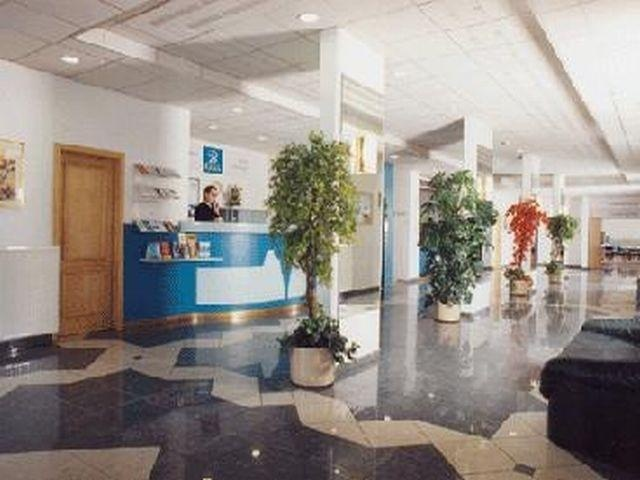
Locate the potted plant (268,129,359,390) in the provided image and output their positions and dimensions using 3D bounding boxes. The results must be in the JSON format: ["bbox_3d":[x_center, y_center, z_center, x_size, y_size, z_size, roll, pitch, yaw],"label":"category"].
[{"bbox_3d":[-0.068,0.202,4.838,0.889,2.512,0.435,0,6,-1],"label":"potted plant"}]

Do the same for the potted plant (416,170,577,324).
[{"bbox_3d":[2.847,-0.091,8.873,2.924,3.011,2.311,-3,5,-37],"label":"potted plant"}]

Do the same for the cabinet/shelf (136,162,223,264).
[{"bbox_3d":[-2.245,-0.429,7.291,0.826,1.463,0.929,6,8,41],"label":"cabinet/shelf"}]
